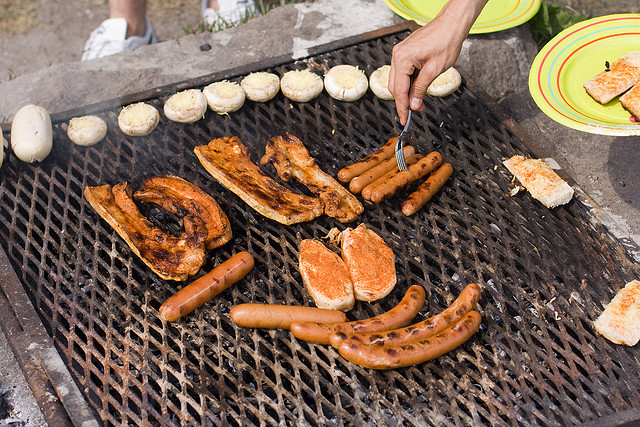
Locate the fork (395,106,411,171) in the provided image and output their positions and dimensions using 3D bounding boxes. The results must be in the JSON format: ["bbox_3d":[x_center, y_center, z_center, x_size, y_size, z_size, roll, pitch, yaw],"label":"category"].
[{"bbox_3d":[0.615,-0.498,4.501,0.065,0.070,0.644,14,66,-18],"label":"fork"}]

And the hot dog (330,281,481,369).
[{"bbox_3d":[0.591,0.817,3.931,0.926,0.229,0.404,-17,47,-5],"label":"hot dog"}]

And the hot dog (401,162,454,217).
[{"bbox_3d":[0.775,-0.175,4.463,0.123,0.101,0.447,44,71,12],"label":"hot dog"}]

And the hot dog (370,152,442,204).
[{"bbox_3d":[0.632,-0.269,4.435,0.621,0.198,0.112,-33,83,-1],"label":"hot dog"}]
